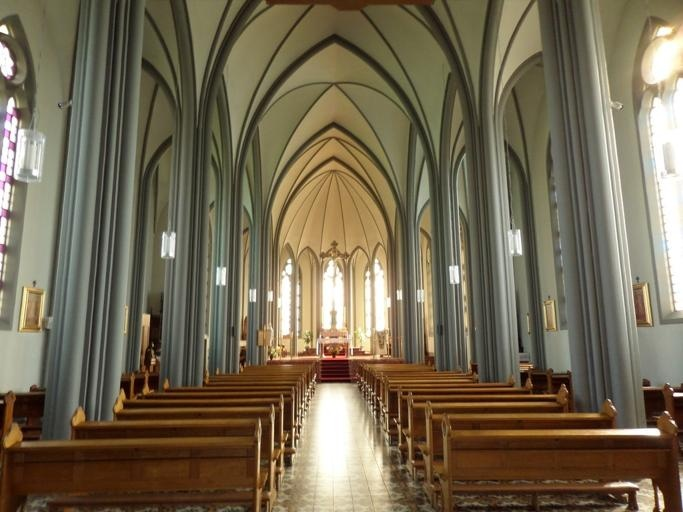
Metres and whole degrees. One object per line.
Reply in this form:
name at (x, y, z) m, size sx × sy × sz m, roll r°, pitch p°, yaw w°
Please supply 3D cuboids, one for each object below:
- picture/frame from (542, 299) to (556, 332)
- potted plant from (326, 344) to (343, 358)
picture/frame at (6.846, 1.975, 16.824) m, size 0.082 × 1.155 × 0.984 m, roll -7°, pitch -6°, yaw 41°
potted plant at (-0.405, 5.098, 27.719) m, size 0.773 × 0.645 × 0.836 m, roll 0°, pitch -7°, yaw 0°
